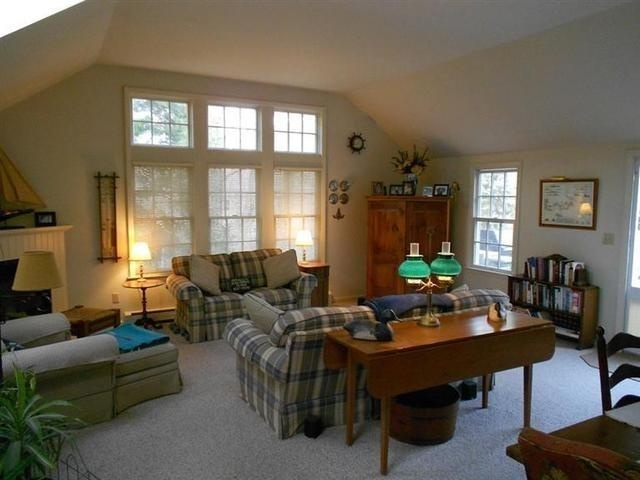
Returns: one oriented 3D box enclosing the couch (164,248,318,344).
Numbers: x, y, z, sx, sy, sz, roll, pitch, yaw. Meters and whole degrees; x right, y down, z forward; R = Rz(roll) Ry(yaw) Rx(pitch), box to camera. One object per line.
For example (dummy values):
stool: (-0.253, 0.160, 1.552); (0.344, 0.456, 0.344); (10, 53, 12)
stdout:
couch: (-1.112, 0.738, 6.631); (1.930, 1.004, 0.933); (-2, 7, -31)

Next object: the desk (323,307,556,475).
desk: (1.004, 1.190, 4.004); (1.899, 0.985, 0.654); (-5, 12, -23)

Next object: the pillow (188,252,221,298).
pillow: (-1.563, 0.464, 6.357); (0.384, 0.485, 0.535); (-3, 12, -13)

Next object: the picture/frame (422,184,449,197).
picture/frame: (1.858, -0.788, 7.445); (0.429, 0.196, 0.227); (6, 13, 26)

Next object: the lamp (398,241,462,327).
lamp: (1.120, 0.452, 4.868); (0.752, 1.001, 0.342); (0, 8, 0)

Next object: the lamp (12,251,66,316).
lamp: (-2.652, 0.347, 4.437); (0.423, 0.417, 0.442); (-5, -3, 17)

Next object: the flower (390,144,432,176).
flower: (1.537, -1.358, 8.020); (0.679, 0.515, 0.664); (4, 12, 18)

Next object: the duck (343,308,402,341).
duck: (0.415, 0.696, 3.877); (0.390, 0.117, 0.466); (2, 11, 9)

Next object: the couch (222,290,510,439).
couch: (0.065, 1.273, 4.743); (0.905, 0.779, 1.998); (10, -4, 37)

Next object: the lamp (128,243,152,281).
lamp: (-2.444, 0.286, 6.390); (0.362, 0.455, 0.371); (-3, 2, 6)

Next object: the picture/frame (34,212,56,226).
picture/frame: (-3.556, -0.271, 6.017); (0.025, 0.136, 0.181); (-6, -4, 41)

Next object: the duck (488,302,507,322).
duck: (1.588, 0.661, 4.218); (0.125, 0.198, 0.192); (1, -1, -18)

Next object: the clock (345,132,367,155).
clock: (0.598, -1.648, 7.968); (0.346, 0.355, 0.026); (-15, 13, -35)

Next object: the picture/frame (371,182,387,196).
picture/frame: (0.991, -0.853, 7.911); (0.270, 0.272, 0.102); (2, -7, -23)

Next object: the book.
book: (2.882, 0.681, 5.766); (0.356, 0.992, 1.011); (0, 2, -19)

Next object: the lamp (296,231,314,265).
lamp: (-0.247, 0.108, 7.431); (0.281, 0.476, 0.287); (-1, -3, 13)
